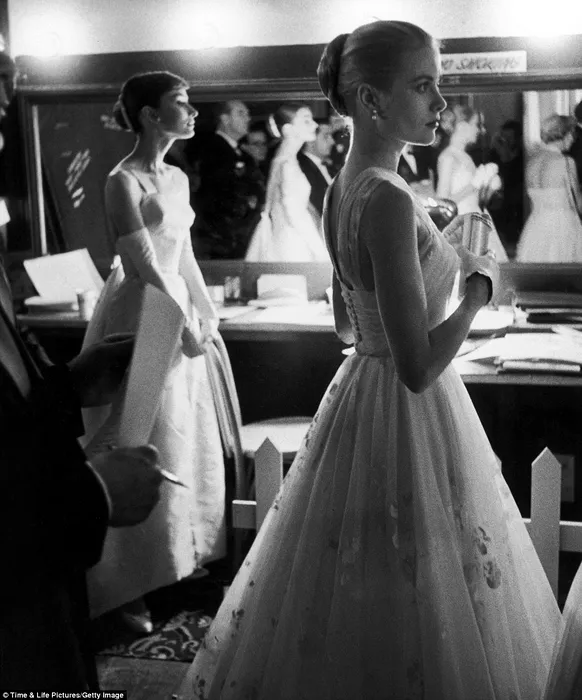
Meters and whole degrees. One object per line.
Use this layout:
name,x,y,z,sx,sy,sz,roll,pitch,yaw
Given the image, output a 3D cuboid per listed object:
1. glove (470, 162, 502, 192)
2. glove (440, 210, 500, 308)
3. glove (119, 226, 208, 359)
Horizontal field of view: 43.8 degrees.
glove,0.728,-0.652,2.720,0.075,0.116,0.040,4,11,31
glove,0.295,-0.152,1.194,0.041,0.152,0.099,4,-2,-28
glove,-0.318,-0.156,1.795,0.102,0.395,0.110,-24,10,-4
